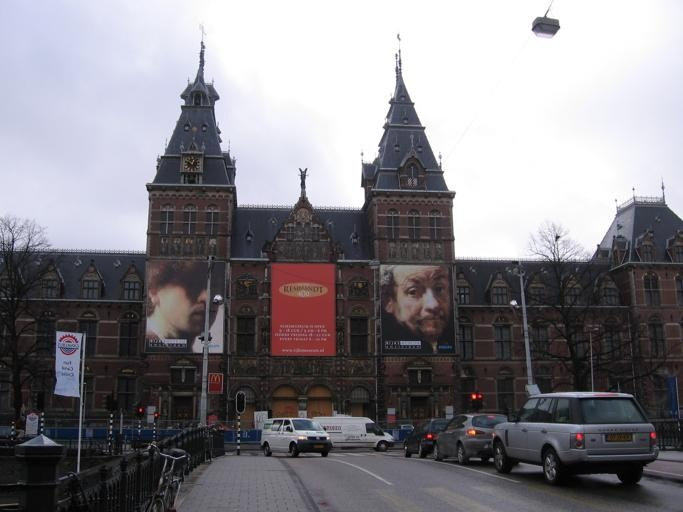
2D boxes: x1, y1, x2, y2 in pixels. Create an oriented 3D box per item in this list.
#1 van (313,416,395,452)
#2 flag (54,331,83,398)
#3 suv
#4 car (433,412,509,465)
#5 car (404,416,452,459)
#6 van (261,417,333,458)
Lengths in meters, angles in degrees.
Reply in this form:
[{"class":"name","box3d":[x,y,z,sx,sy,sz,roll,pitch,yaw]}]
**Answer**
[{"class":"van","box3d":[0.679,10.700,45.764,4.638,1.899,2.361,0,-8,-9]},{"class":"flag","box3d":[-10.602,4.173,29.376,0.780,3.098,0.882,6,-14,-32]},{"class":"suv","box3d":[7.156,5.764,24.205,2.942,2.501,6.210,3,-11,-13]},{"class":"car","box3d":[4.810,6.850,28.880,2.709,2.608,3.215,-4,-10,4]},{"class":"car","box3d":[4.102,8.491,35.009,1.784,1.665,4.264,2,-15,-10]},{"class":"van","box3d":[-2.254,8.984,37.647,2.071,1.811,4.562,8,-15,-32]}]
